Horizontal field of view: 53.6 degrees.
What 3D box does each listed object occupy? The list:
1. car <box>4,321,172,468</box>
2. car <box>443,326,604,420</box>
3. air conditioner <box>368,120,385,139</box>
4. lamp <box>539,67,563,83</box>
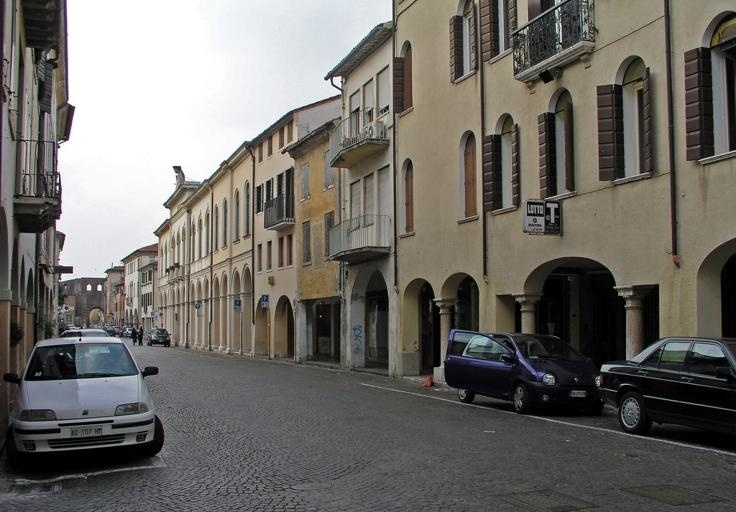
[{"bbox_3d":[-5.076,2.567,13.234,2.584,2.275,1.889,0,-9,-8],"label":"car"},{"bbox_3d":[4.029,2.966,19.229,1.578,2.284,4.137,6,-12,-39],"label":"car"},{"bbox_3d":[0.372,-5.265,30.458,0.395,0.888,0.813,2,-5,-29],"label":"air conditioner"},{"bbox_3d":[5.261,-5.199,21.085,0.420,0.332,0.141,11,37,41],"label":"lamp"}]
